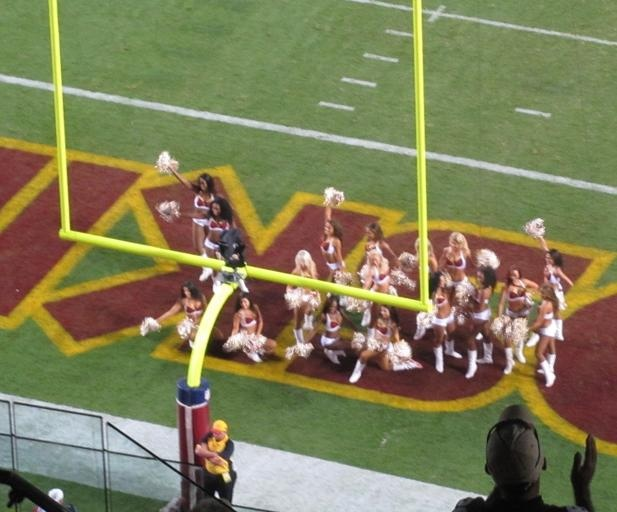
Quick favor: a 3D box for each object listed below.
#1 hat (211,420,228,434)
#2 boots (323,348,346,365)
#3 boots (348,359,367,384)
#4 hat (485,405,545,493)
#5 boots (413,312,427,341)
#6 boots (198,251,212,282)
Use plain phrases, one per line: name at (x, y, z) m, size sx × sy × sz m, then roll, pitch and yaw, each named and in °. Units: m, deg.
hat at (-0.808, 1.568, 14.301) m, size 0.164 × 0.186 × 0.135 m, roll 4°, pitch 77°, yaw -3°
boots at (0.306, 1.067, 16.467) m, size 0.112 × 0.218 × 0.155 m, roll -5°, pitch 55°, yaw 55°
boots at (0.531, 1.234, 16.322) m, size 0.123 × 0.234 × 0.290 m, roll 23°, pitch 94°, yaw 27°
hat at (1.466, 1.340, 10.760) m, size 0.416 × 0.346 × 0.530 m, roll 2°, pitch 80°, yaw 8°
boots at (1.238, 0.749, 16.610) m, size 0.137 × 0.398 × 0.192 m, roll -4°, pitch 98°, yaw 16°
boots at (-1.065, 0.109, 16.096) m, size 0.111 × 0.212 × 0.328 m, roll 0°, pitch 85°, yaw -8°
